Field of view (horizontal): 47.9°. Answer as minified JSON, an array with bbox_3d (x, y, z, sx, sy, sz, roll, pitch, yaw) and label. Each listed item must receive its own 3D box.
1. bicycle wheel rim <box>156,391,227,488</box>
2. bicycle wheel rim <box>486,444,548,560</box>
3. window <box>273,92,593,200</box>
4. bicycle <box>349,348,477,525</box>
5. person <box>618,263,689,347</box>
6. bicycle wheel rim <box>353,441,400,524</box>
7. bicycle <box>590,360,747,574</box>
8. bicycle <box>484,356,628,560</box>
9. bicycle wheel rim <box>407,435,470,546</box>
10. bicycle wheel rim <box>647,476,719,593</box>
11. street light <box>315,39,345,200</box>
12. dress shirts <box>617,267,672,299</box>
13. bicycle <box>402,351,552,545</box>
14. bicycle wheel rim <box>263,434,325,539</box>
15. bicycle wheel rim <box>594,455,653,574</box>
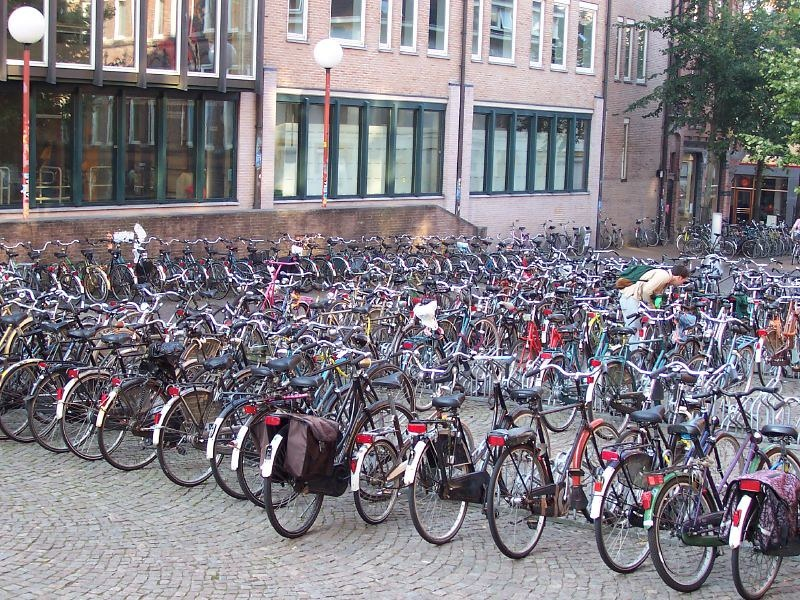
[{"bbox_3d":[-1.867,1.263,8.022,0.258,0.819,0.792,5,4,36],"label":"bicycle wheel rim"},{"bbox_3d":[0.837,1.492,6.716,0.627,0.844,0.329,-8,16,-30],"label":"bicycle wheel rim"},{"bbox_3d":[1.545,-4.612,27.150,11.454,2.818,0.559,-2,8,-18],"label":"window"},{"bbox_3d":[0.094,1.254,7.778,0.858,1.120,1.803,-3,1,30],"label":"bicycle"},{"bbox_3d":[3.504,-0.024,12.549,0.945,1.338,0.543,7,42,18],"label":"person"},{"bbox_3d":[-0.201,1.471,7.276,0.234,0.655,0.633,5,-9,35],"label":"bicycle wheel rim"},{"bbox_3d":[1.852,1.303,6.903,0.834,1.057,1.737,-1,12,38],"label":"bicycle"},{"bbox_3d":[1.233,1.308,7.095,0.760,1.100,1.740,3,11,36],"label":"bicycle"},{"bbox_3d":[0.276,1.470,6.937,0.258,0.851,0.668,9,16,33],"label":"bicycle wheel rim"},{"bbox_3d":[1.965,1.628,6.255,0.768,0.747,0.150,-16,5,-40],"label":"bicycle wheel rim"},{"bbox_3d":[-1.716,-4.177,21.082,0.708,3.717,0.731,0,8,-14],"label":"street light"},{"bbox_3d":[3.359,-0.220,12.208,0.496,0.189,0.446,-26,35,-11],"label":"dress shirts"},{"bbox_3d":[0.635,1.250,7.485,0.761,1.333,2.126,-5,-4,36],"label":"bicycle"},{"bbox_3d":[-0.834,1.447,7.033,0.436,0.831,0.469,-2,14,-6],"label":"bicycle wheel rim"},{"bbox_3d":[1.599,1.536,6.435,0.252,0.775,0.765,5,-17,43],"label":"bicycle wheel rim"}]
